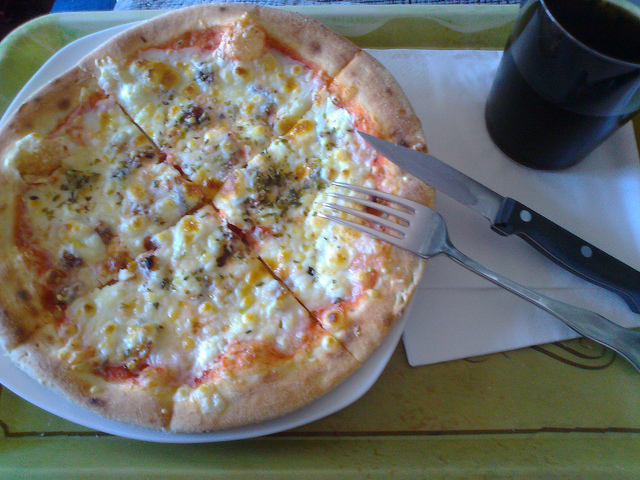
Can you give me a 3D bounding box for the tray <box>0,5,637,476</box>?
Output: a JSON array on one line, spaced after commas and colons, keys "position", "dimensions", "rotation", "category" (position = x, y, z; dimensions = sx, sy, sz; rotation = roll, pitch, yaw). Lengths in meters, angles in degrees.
[{"position": [-0.067, -0.010, 1.726], "dimensions": [1.513, 0.242, 1.393], "rotation": [-10, 80, -2], "category": "tray"}]
